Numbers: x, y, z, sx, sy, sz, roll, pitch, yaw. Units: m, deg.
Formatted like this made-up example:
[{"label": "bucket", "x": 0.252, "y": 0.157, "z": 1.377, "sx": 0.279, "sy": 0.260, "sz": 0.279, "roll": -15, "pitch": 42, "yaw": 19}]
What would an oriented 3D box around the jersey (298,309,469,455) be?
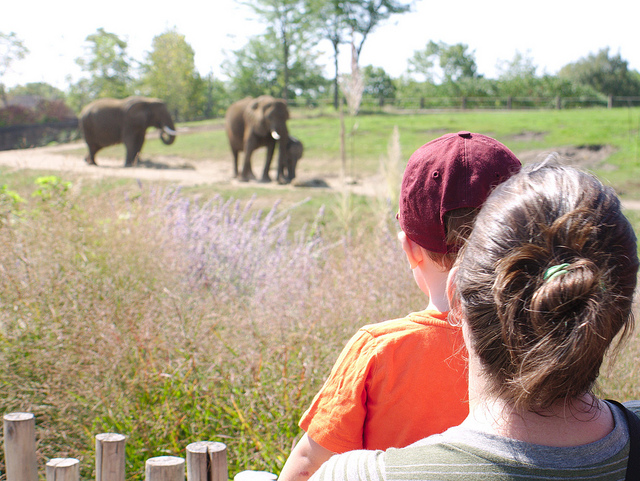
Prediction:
[{"label": "jersey", "x": 0.243, "y": 0.548, "z": 3.318, "sx": 0.568, "sy": 0.568, "sz": 0.218, "roll": 10, "pitch": 16, "yaw": -18}]
